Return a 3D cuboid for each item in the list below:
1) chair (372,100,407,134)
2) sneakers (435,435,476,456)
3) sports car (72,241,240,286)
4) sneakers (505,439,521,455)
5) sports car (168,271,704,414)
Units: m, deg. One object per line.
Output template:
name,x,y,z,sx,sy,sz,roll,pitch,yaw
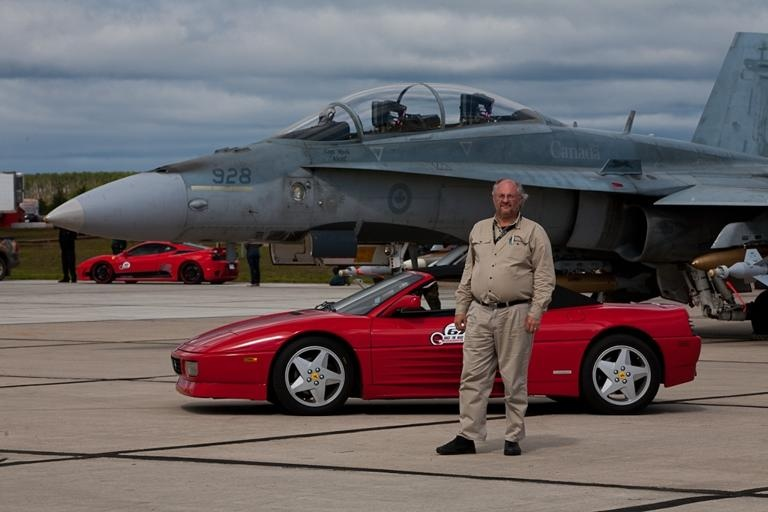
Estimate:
chair,0.071,-2.286,14.932,0.863,0.500,0.495,2,-1,-8
sneakers,0.666,1.725,8.239,0.421,0.119,0.158,3,-6,-4
sports car,-7.893,-0.041,34.245,6.701,1.100,3.461,1,13,27
sneakers,1.155,1.732,8.233,0.147,0.092,0.274,-1,-16,6
sports car,0.607,0.958,10.223,5.026,0.809,1.930,1,-4,-4
